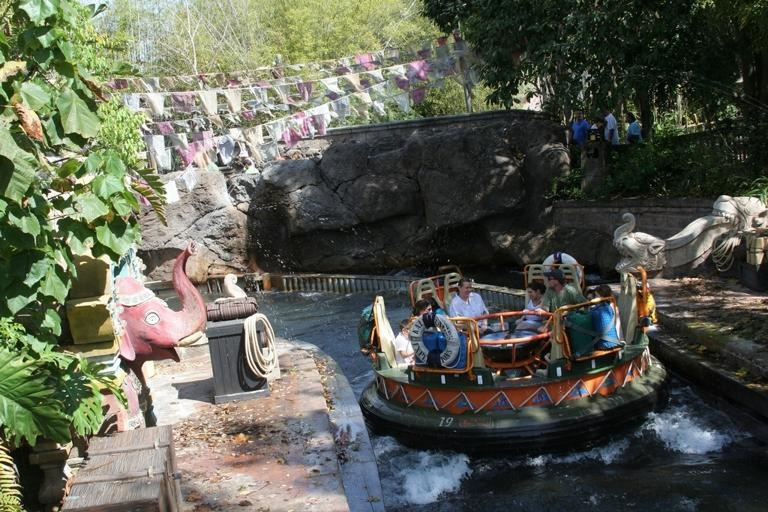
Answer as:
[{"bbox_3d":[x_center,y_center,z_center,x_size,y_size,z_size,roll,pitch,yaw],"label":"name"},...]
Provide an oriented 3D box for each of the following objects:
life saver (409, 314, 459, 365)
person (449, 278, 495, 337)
[{"bbox_3d":[0.753,1.307,10.491,0.830,0.894,0.207,8,14,20],"label":"life saver"},{"bbox_3d":[1.473,0.882,11.792,0.536,1.018,0.681,-1,-4,6],"label":"person"}]
